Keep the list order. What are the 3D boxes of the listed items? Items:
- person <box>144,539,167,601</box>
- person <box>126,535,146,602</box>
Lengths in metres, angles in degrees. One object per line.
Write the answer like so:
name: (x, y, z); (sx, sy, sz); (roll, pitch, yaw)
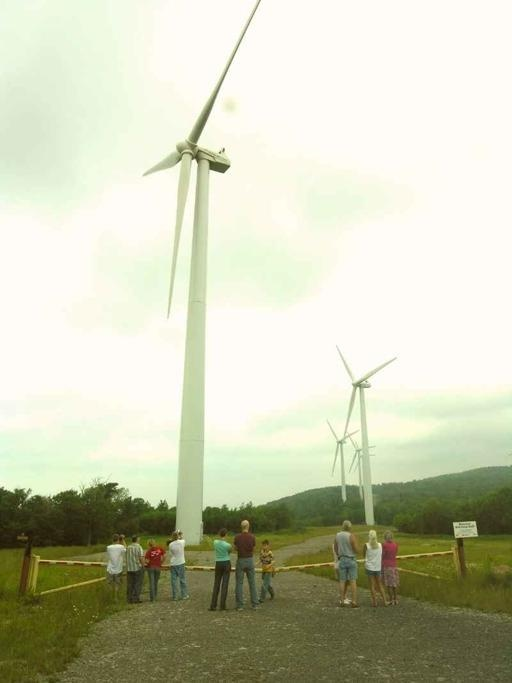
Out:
person: (-2.851, 6.360, 16.996); (0.561, 1.568, 1.230); (0, -17, -11)
person: (-3.324, 6.236, 16.714); (0.507, 1.710, 1.219); (0, -17, -11)
